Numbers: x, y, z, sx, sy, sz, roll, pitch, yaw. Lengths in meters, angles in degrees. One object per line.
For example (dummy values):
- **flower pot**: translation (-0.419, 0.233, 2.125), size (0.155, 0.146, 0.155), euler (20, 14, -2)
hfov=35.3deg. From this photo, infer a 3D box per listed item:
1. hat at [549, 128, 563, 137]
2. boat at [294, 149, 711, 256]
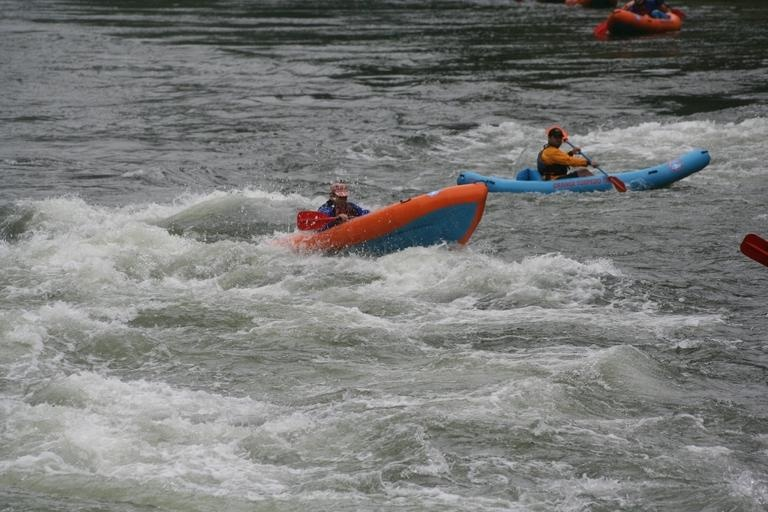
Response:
- **hat**: translation (4.024, -2.886, 27.947), size (0.352, 0.226, 0.321), euler (5, 27, 4)
- **boat**: translation (2.854, -1.145, 27.232), size (8.919, 0.854, 1.903), euler (-8, 16, 5)
